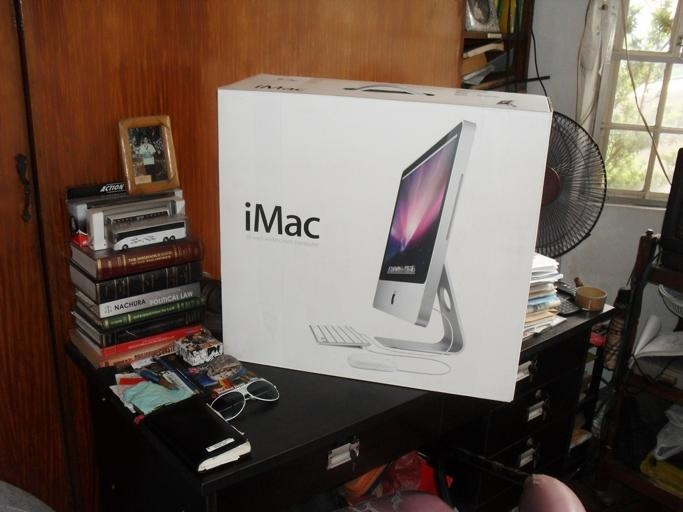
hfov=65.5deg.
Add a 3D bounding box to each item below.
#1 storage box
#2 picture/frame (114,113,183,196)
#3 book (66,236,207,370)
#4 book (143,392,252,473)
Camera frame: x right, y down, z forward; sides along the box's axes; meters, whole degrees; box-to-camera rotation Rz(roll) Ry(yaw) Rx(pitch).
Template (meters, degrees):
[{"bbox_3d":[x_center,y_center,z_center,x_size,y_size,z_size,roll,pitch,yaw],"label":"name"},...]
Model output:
[{"bbox_3d":[0.059,-0.095,1.377,0.810,0.847,0.313,7,34,11],"label":"storage box"},{"bbox_3d":[-0.552,-0.280,1.493,0.189,0.262,0.026,-18,18,-42],"label":"picture/frame"},{"bbox_3d":[-0.600,0.056,1.578,0.371,0.398,0.317,-8,17,-31],"label":"book"},{"bbox_3d":[-0.325,0.384,1.171,0.119,0.035,0.165,-17,31,-34],"label":"book"}]
